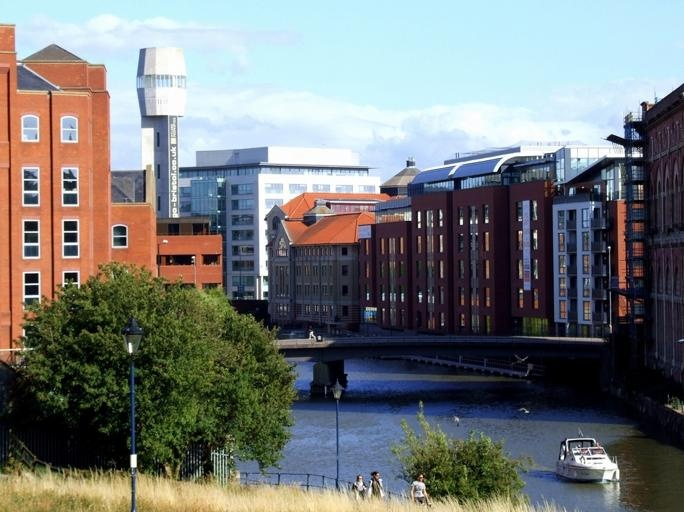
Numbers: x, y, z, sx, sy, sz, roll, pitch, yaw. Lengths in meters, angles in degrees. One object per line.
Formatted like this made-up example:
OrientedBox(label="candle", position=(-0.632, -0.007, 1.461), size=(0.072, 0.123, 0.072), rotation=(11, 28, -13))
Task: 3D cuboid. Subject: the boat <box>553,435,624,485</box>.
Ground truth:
OrientedBox(label="boat", position=(19.443, 16.383, 130.135), size=(4.940, 3.321, 5.996), rotation=(-2, -5, 8))
